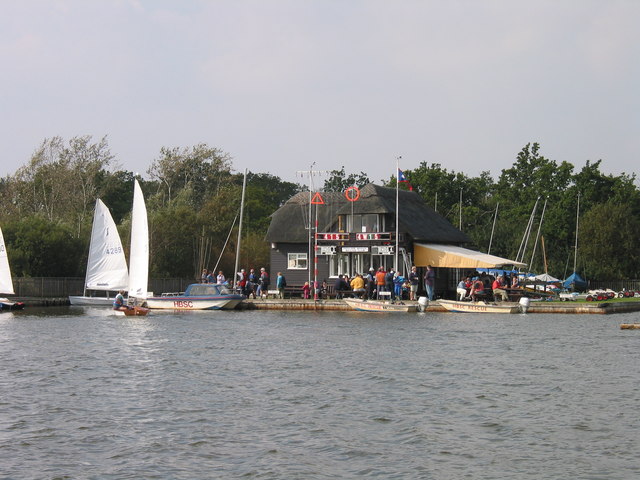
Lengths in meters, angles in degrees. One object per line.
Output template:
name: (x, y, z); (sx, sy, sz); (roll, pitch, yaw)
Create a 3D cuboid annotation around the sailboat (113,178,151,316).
sailboat: (-11.637, 0.497, 63.231); (1.760, 8.589, 4.629); (-1, 5, -11)

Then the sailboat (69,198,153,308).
sailboat: (-14.154, 1.145, 67.632); (3.877, 10.271, 4.218); (-1, 3, 32)

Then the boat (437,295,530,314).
boat: (9.264, 4.045, 61.062); (5.998, 1.120, 1.691); (2, -4, 20)

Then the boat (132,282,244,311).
boat: (-8.284, 3.840, 65.553); (5.233, 1.711, 2.553); (-1, -2, 16)
